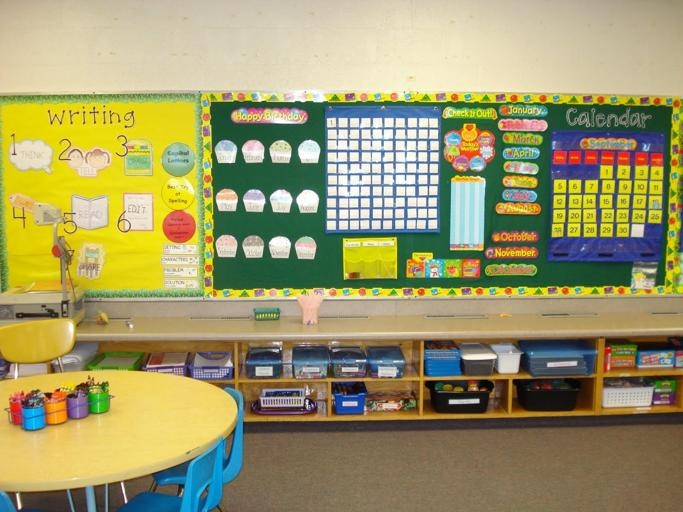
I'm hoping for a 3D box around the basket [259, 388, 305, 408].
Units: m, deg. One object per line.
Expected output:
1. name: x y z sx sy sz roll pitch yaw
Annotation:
1. basket: -0.427 1.041 5.002 0.244 0.082 0.162 0 6 -3
